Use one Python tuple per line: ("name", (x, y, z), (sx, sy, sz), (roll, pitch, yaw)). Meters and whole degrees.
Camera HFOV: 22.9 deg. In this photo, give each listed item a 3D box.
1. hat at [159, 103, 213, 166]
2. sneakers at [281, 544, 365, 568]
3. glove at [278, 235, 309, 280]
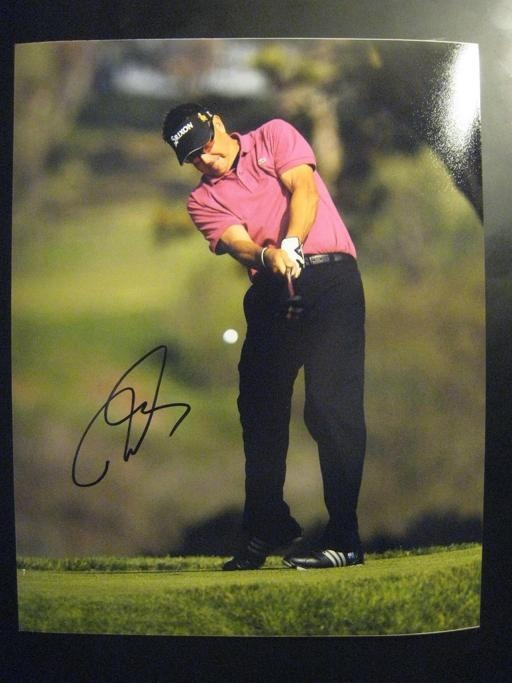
("hat", (-0.322, -0.950, 5.732), (0.169, 0.123, 0.266), (-32, 20, 33))
("sneakers", (0.319, 0.979, 5.776), (0.346, 0.108, 0.118), (2, -13, -4))
("glove", (0.171, -0.381, 5.751), (0.152, 0.196, 0.064), (-9, -2, 1))
